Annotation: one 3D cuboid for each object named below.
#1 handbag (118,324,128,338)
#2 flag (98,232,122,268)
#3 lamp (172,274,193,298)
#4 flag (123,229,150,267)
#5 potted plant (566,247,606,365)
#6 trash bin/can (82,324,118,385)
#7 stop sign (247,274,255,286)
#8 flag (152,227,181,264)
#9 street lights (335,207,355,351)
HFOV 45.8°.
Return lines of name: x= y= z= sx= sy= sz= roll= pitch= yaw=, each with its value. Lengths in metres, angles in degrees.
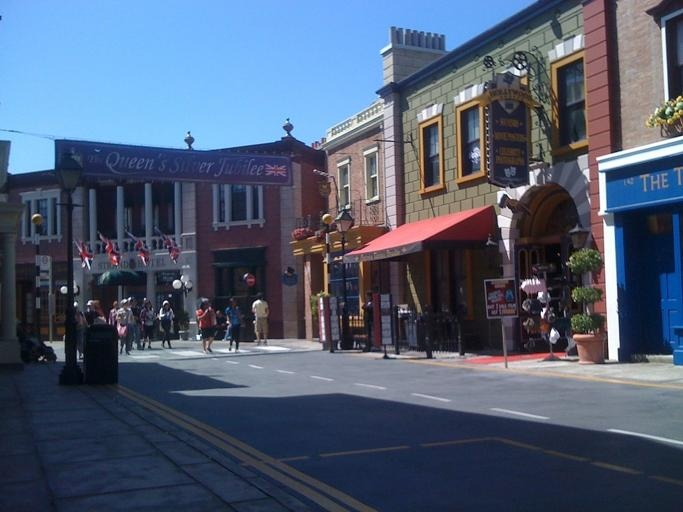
handbag: x=-7.734 y=2.660 z=28.504 sx=0.316 sy=0.434 sz=0.669 roll=-1 pitch=0 yaw=-15
flag: x=-12.397 y=-0.212 z=43.478 sx=0.930 sy=1.711 sz=2.704 roll=-1 pitch=0 yaw=-16
lamp: x=-8.104 y=1.511 z=40.309 sx=0.956 sy=0.955 sz=1.039 roll=0 pitch=8 yaw=7
flag: x=-10.950 y=-0.424 z=43.441 sx=1.027 sy=1.906 sz=2.517 roll=-1 pitch=0 yaw=-23
potted plant: x=5.743 y=1.205 z=18.944 sx=0.842 sy=2.664 sz=0.809 roll=-5 pitch=1 yaw=-34
trash bin/can: x=-5.276 y=2.152 z=17.649 sx=0.710 sy=1.294 sz=0.301 roll=-1 pitch=0 yaw=-21
stop sign: x=-4.414 y=1.224 z=39.346 sx=0.439 sy=0.606 sz=0.508 roll=9 pitch=13 yaw=41
flag: x=-9.137 y=-0.570 z=42.285 sx=1.210 sy=1.725 sz=2.277 roll=-1 pitch=0 yaw=-13
street lights: x=0.089 y=0.845 z=27.576 sx=0.792 sy=5.124 sz=0.768 roll=-14 pitch=19 yaw=-43
